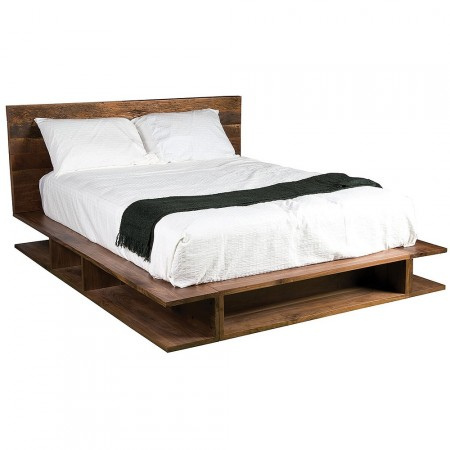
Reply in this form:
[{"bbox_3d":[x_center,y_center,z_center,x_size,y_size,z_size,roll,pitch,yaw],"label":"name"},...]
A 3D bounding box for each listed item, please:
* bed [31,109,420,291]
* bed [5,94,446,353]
[{"bbox_3d":[-0.352,-0.273,3.741,1.959,2.287,0.630,-11,-71,-33],"label":"bed"},{"bbox_3d":[-0.456,-0.138,3.866,2.658,2.775,0.963,-7,-77,-32],"label":"bed"}]
